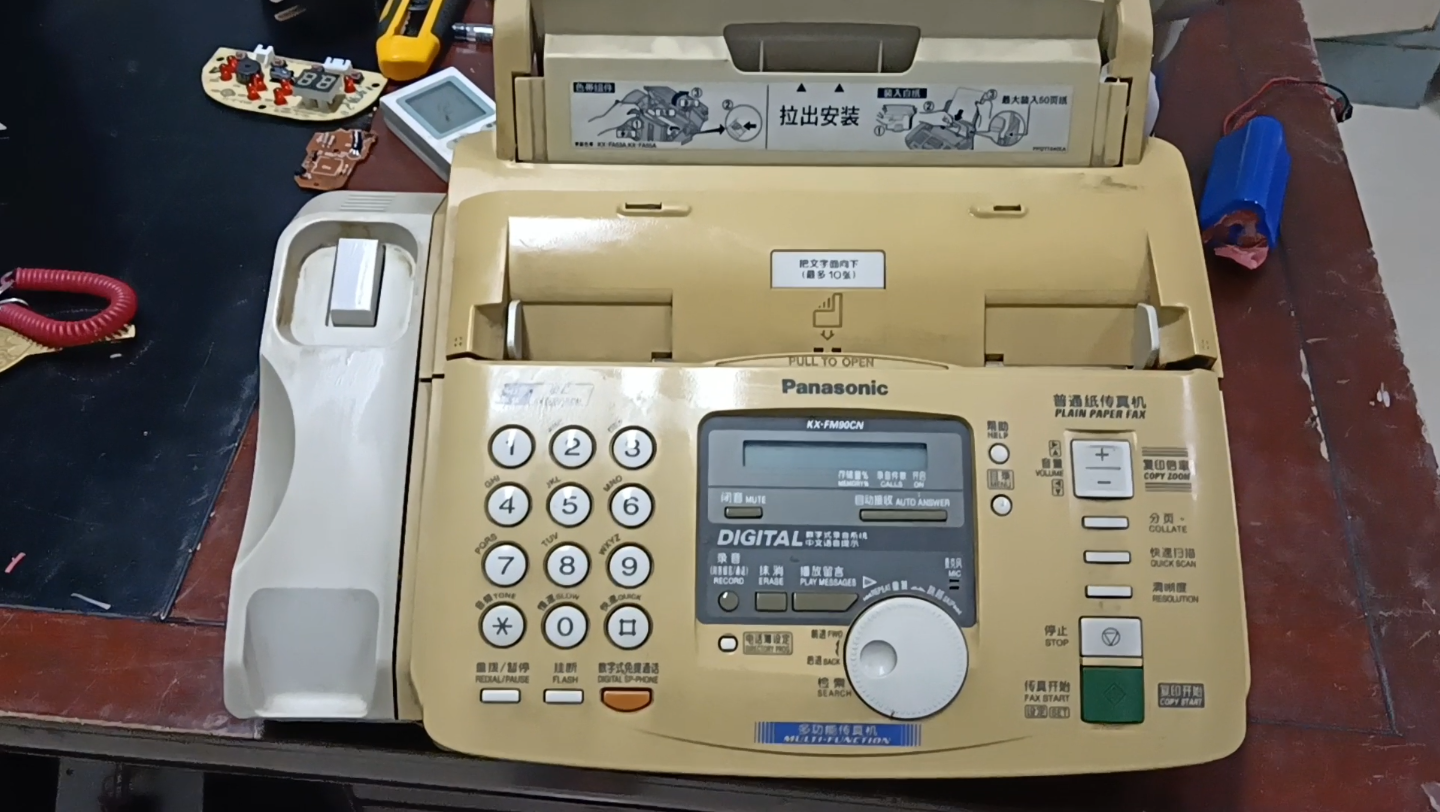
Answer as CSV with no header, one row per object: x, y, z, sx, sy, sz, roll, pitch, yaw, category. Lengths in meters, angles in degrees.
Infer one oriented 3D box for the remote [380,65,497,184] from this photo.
-0.524,-0.549,2.313,0.184,0.068,0.239,-32,62,-25,remote

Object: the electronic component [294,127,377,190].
-0.752,-0.478,2.285,0.125,0.038,0.148,14,64,10,electronic component

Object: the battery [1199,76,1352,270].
1.042,-0.475,2.168,0.238,0.129,0.446,11,60,39,battery
